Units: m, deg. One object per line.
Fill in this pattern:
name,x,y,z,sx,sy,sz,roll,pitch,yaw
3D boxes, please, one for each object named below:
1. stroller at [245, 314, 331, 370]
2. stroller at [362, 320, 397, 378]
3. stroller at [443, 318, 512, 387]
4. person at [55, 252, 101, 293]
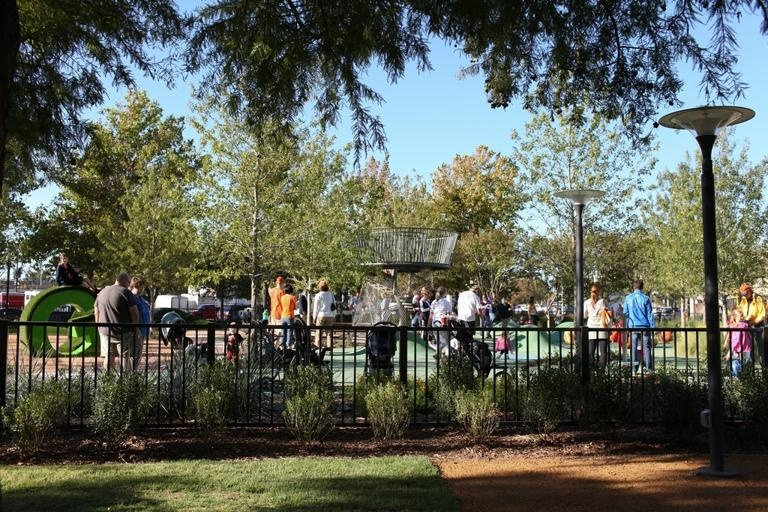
stroller,-1.786,1.626,16.147,1.370,0.810,1.015,-1,-1,19
stroller,-0.043,1.712,16.266,0.554,1.103,0.952,1,-7,0
stroller,1.698,1.710,16.726,0.847,1.224,2.033,2,5,2
person,-8.188,0.378,24.061,0.881,1.186,3.078,2,-13,-19
